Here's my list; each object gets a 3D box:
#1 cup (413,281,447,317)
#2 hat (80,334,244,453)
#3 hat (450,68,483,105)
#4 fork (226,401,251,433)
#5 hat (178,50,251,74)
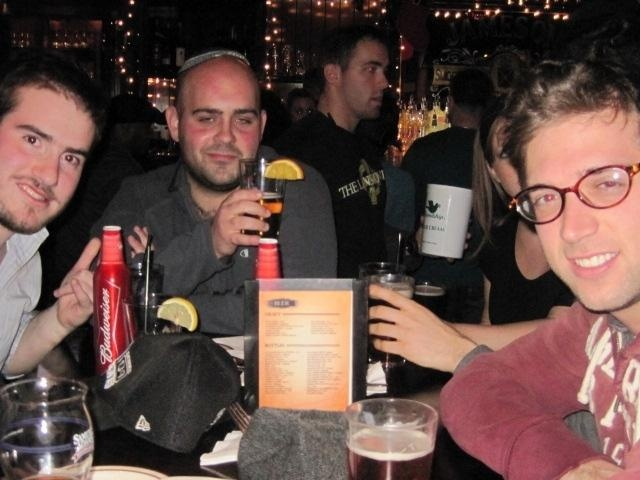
[{"bbox_3d":[0.390,0.207,1.984,0.118,0.128,0.117,1,0,0],"label":"cup"},{"bbox_3d":[-0.339,0.366,1.300,0.337,0.175,0.216,14,39,-26],"label":"hat"},{"bbox_3d":[1.126,-1.159,4.275,0.220,0.292,0.288,-3,11,-3],"label":"hat"},{"bbox_3d":[-0.196,0.429,1.373,0.037,0.021,0.124,-29,17,-9],"label":"fork"},{"bbox_3d":[-0.452,-0.781,2.410,0.205,0.052,0.157,-8,9,-20],"label":"hat"}]
